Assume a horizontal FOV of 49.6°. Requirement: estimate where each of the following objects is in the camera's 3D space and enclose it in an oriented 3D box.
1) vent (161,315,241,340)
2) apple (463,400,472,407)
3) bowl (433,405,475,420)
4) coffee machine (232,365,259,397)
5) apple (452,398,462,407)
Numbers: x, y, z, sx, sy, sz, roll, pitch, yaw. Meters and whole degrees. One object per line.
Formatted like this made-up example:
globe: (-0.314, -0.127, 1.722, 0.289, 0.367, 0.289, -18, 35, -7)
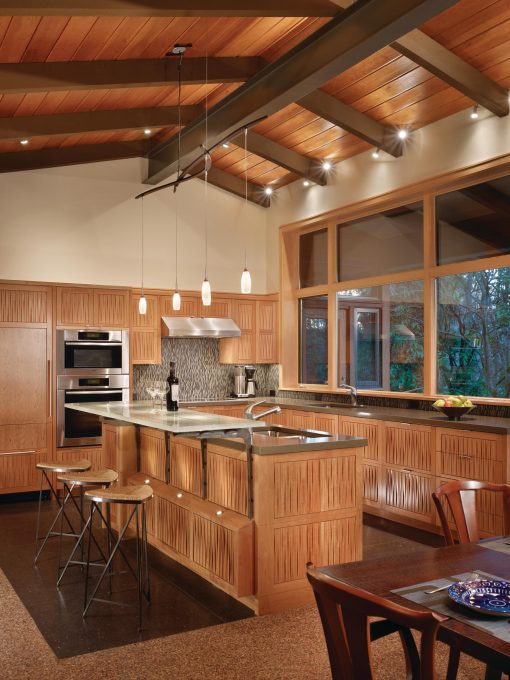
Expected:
vent: (-0.668, -0.175, 6.959, 1.033, 0.303, 0.371, 3, -6, -33)
apple: (1.741, 0.516, 4.523, 0.060, 0.042, 0.077, 2, 3, 26)
bowl: (1.655, 0.605, 4.579, 0.262, 0.112, 0.473, -2, -6, 20)
coffee machine: (-0.164, 0.567, 7.510, 0.317, 0.437, 0.261, 0, -6, 3)
apple: (1.657, 0.514, 4.505, 0.054, 0.053, 0.071, 3, 5, 22)
